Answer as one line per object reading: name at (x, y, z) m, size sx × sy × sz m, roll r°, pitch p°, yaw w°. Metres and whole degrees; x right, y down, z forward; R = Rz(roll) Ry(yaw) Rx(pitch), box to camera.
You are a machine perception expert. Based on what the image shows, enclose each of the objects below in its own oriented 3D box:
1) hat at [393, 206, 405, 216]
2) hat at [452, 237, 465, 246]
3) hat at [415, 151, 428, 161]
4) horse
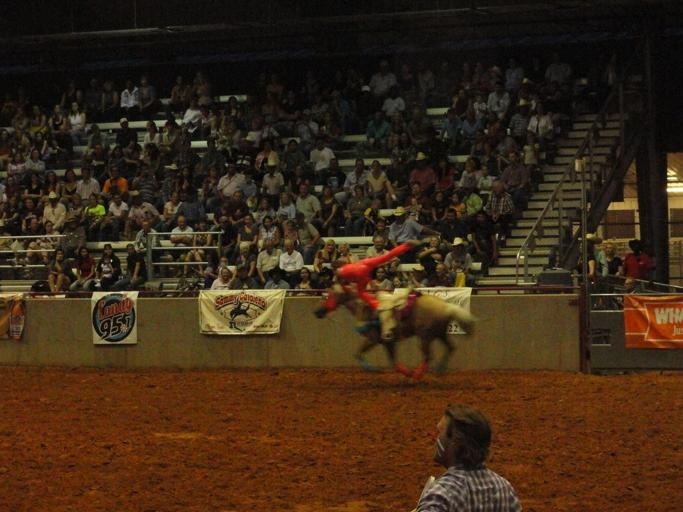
hat at (1.605, -1.237, 37.002) m, size 0.317 × 0.316 × 0.740 m, roll 1°, pitch 1°, yaw 2°
hat at (3.137, -0.355, 35.623) m, size 0.324 × 0.256 × 0.576 m, roll 1°, pitch 1°, yaw 5°
hat at (2.273, -2.882, 38.119) m, size 0.325 × 0.301 × 0.465 m, roll 1°, pitch 1°, yaw 0°
horse at (1.370, 1.914, 33.127) m, size 3.863 × 2.373 × 2.934 m, roll 1°, pitch 1°, yaw 6°
